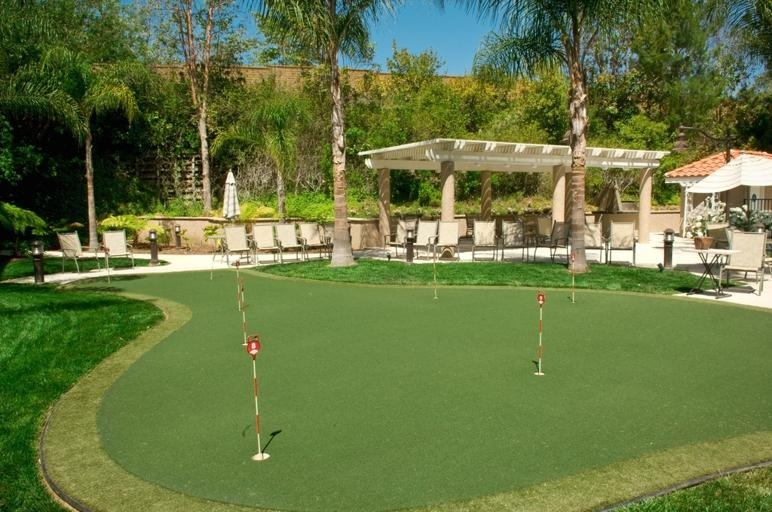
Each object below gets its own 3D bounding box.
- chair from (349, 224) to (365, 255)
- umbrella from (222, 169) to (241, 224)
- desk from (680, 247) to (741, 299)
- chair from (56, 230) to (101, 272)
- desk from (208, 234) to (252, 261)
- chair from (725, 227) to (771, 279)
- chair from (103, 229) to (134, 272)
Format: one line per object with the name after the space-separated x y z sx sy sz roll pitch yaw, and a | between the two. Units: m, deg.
-1.011 -0.680 23.829 0.427 0.891 0.438 0 4 1 | chair
-5.409 -2.156 24.441 0.547 1.731 3.004 -1 4 -12 | umbrella
7.399 0.511 16.066 1.209 1.363 1.293 2 4 27 | desk
-7.977 -0.086 18.171 0.788 1.077 0.799 -1 3 12 | chair
-4.518 -0.366 20.456 0.878 1.069 1.541 -1 -4 -20 | desk
7.921 -0.096 15.422 0.889 1.391 1.019 4 25 32 | chair
-7.191 -0.208 18.760 0.978 0.918 0.983 7 13 31 | chair
